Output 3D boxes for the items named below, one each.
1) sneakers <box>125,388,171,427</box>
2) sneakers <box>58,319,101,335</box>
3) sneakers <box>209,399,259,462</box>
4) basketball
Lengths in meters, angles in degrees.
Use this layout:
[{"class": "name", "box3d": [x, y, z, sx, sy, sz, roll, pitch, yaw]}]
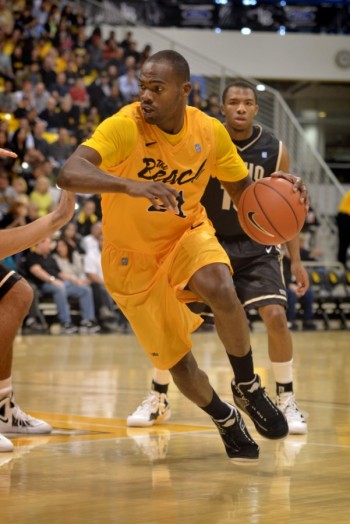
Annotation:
[{"class": "sneakers", "box3d": [-0.118, 0.762, 2.607, 0.109, 0.153, 0.277, -3, -10, 37]}, {"class": "sneakers", "box3d": [-1.593, 1.092, 8.484, 0.719, 0.262, 0.219, -5, -7, 0]}, {"class": "sneakers", "box3d": [0.213, 0.633, 1.910, 0.092, 0.106, 0.261, -38, 37, 5]}, {"class": "basketball", "box3d": [0.374, -0.196, 2.066, 0.192, 0.277, 0.272, -18, 27, -31]}]
